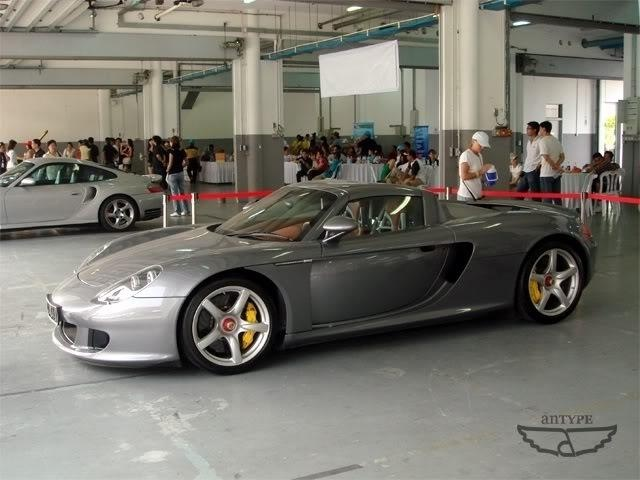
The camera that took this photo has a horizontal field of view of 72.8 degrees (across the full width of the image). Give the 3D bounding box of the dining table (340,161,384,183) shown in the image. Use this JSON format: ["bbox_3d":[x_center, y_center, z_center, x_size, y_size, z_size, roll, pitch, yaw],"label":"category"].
[{"bbox_3d":[1.598,-2.814,17.744,2.070,0.732,0.618,6,13,43],"label":"dining table"}]

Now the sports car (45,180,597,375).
[{"bbox_3d":[0.142,0.315,3.811,4.600,1.506,0.639,-7,10,-17],"label":"sports car"}]

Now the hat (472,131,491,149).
[{"bbox_3d":[2.614,-1.645,7.083,0.232,0.246,0.735,0,11,19],"label":"hat"}]
